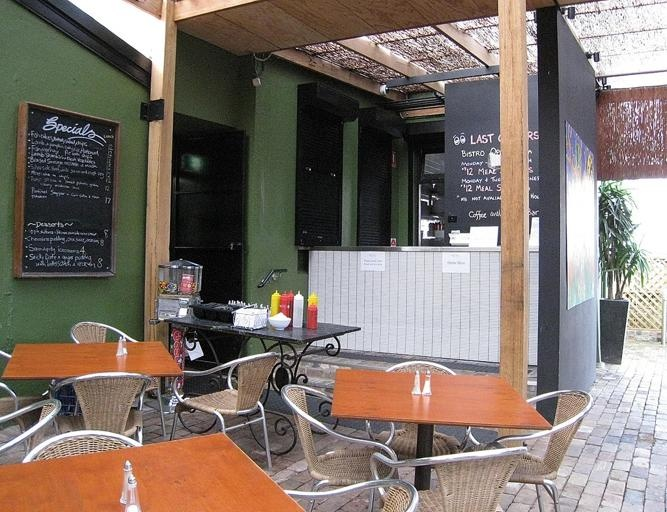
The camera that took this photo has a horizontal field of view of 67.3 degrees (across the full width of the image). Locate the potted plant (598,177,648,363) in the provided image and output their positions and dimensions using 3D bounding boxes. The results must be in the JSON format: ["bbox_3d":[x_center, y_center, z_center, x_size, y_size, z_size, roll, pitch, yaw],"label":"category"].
[{"bbox_3d":[4.249,0.201,7.474,0.604,2.716,1.090,-1,1,43],"label":"potted plant"}]
